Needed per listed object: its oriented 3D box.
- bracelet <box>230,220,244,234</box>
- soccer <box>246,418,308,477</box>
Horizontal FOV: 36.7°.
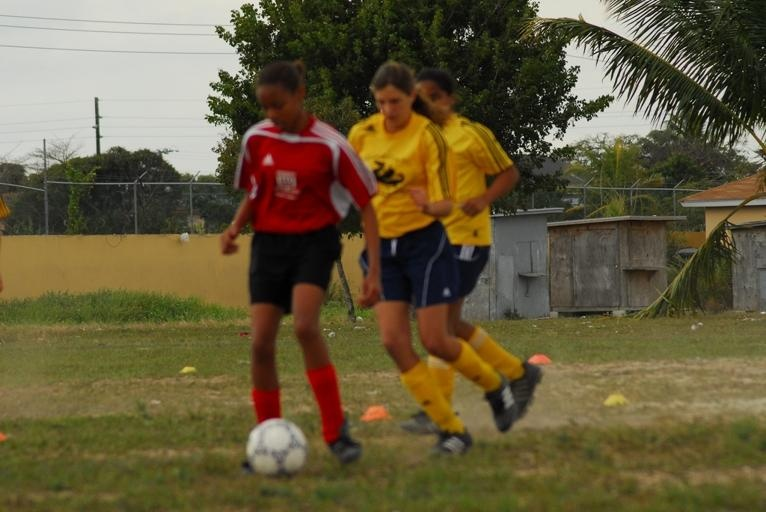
[{"bbox_3d":[-2.102,-0.415,16.747,0.177,0.176,0.173,2,-7,-2],"label":"bracelet"},{"bbox_3d":[-1.540,2.796,16.919,0.801,0.822,0.769,5,-9,-16],"label":"soccer"}]
